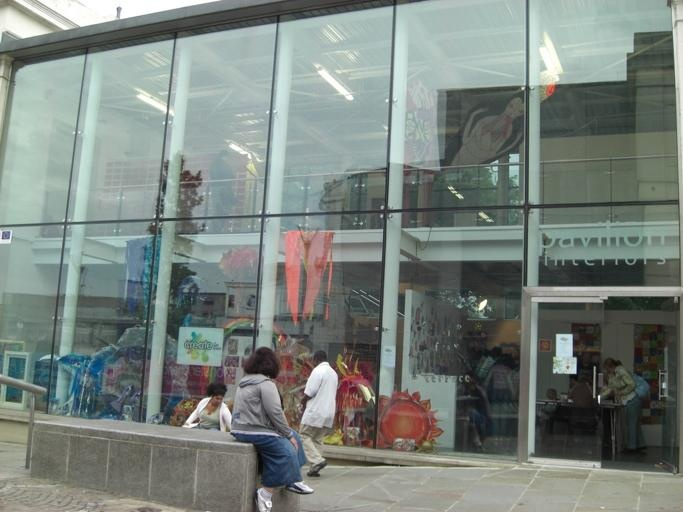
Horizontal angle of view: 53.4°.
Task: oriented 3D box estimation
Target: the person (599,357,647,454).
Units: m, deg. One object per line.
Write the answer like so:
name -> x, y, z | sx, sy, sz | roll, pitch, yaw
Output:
person -> 6.245, 3.314, 15.152 | 0.931, 1.977, 1.609 | -2, -9, 21

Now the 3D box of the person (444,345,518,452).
person -> 2.618, 2.639, 12.407 | 1.092, 1.895, 0.253 | 0, -9, 9

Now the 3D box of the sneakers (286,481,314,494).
sneakers -> -0.529, 3.015, 8.796 | 0.418, 0.190, 0.152 | 3, -2, 4

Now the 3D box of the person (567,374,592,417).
person -> 5.239, 3.116, 15.017 | 0.472, 0.869, 0.895 | -2, -9, 19

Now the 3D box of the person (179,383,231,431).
person -> -2.026, 2.312, 10.453 | 0.633, 0.696, 0.604 | 3, -9, -14
